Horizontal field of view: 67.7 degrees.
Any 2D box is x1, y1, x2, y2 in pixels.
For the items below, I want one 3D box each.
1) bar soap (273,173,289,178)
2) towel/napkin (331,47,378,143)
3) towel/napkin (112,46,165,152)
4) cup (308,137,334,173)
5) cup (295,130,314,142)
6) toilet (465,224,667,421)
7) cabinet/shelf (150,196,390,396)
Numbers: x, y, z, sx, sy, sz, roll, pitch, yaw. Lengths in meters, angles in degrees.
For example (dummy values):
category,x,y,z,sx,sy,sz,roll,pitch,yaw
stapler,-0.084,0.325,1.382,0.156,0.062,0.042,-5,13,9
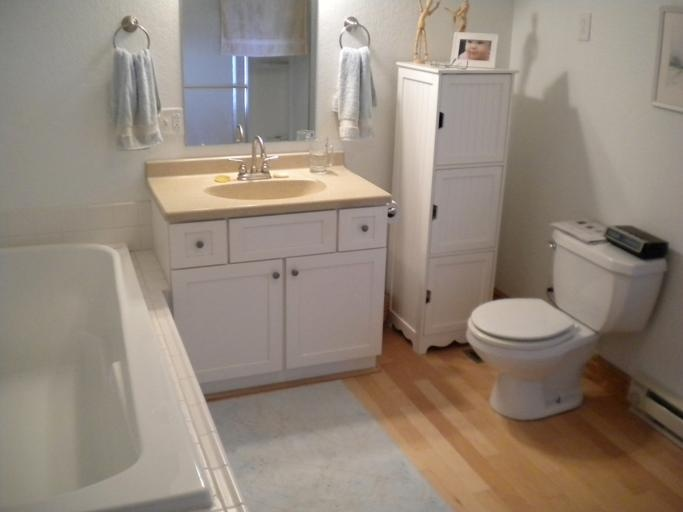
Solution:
category,x,y,z,sx,sy,sz,roll,pitch,yaw
bar soap,-0.344,-0.466,2.925,0.087,0.016,0.073,-5,22,-5
towel/napkin,0.071,-0.938,3.036,0.311,0.517,0.129,-5,10,-32
towel/napkin,-1.071,-0.812,2.633,0.240,0.481,0.108,-13,23,-24
cup,-0.098,-0.606,3.064,0.177,0.198,0.111,1,1,-45
cup,-0.219,-0.732,3.058,0.075,0.059,0.075,2,19,-1
toilet,1.113,0.389,2.727,0.864,0.912,0.665,-7,19,-10
cabinet/shelf,-0.381,0.119,2.926,1.168,1.059,0.694,-7,24,-22
